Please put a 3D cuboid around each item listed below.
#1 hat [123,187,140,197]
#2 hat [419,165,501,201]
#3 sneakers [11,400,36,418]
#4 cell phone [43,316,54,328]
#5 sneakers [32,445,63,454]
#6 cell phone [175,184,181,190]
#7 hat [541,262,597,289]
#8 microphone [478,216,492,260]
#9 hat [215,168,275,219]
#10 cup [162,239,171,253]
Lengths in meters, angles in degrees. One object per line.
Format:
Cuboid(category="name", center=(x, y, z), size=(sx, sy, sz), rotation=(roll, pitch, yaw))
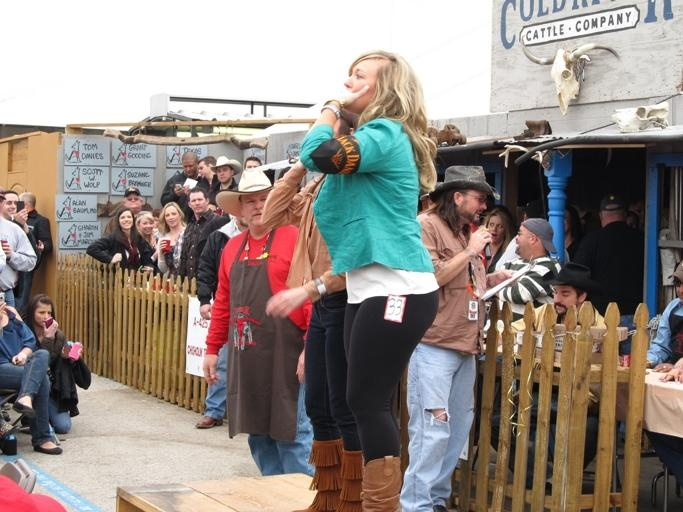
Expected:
Cuboid(category="hat", center=(-3.421, -1.050, 15.231), size=(0.250, 0.122, 0.385), rotation=(-6, 0, -7))
Cuboid(category="hat", center=(0.998, -0.635, 7.724), size=(0.435, 0.172, 0.335), rotation=(3, -3, -4))
Cuboid(category="sneakers", center=(-3.278, 1.571, 9.586), size=(0.113, 0.105, 0.271), rotation=(-15, -24, 40))
Cuboid(category="cell phone", center=(-3.251, 0.752, 10.412), size=(0.104, 0.109, 0.115), rotation=(0, -10, 3))
Cuboid(category="sneakers", center=(-3.067, 2.015, 9.774), size=(0.287, 0.061, 0.110), rotation=(-2, -5, 24))
Cuboid(category="cell phone", center=(-2.640, -1.131, 15.126), size=(0.122, 0.113, 0.030), rotation=(-10, -22, 33))
Cuboid(category="hat", center=(2.080, 0.179, 8.447), size=(0.360, 0.202, 0.297), rotation=(2, 1, 14))
Cuboid(category="microphone", center=(1.373, -0.176, 9.002), size=(0.136, 0.529, 0.181), rotation=(-1, -25, 2))
Cuboid(category="hat", center=(-0.819, -0.579, 8.285), size=(0.600, 0.267, 0.458), rotation=(2, 1, 20))
Cuboid(category="cup", center=(-2.471, -0.147, 13.102), size=(0.143, 0.216, 0.141), rotation=(2, -3, 0))
